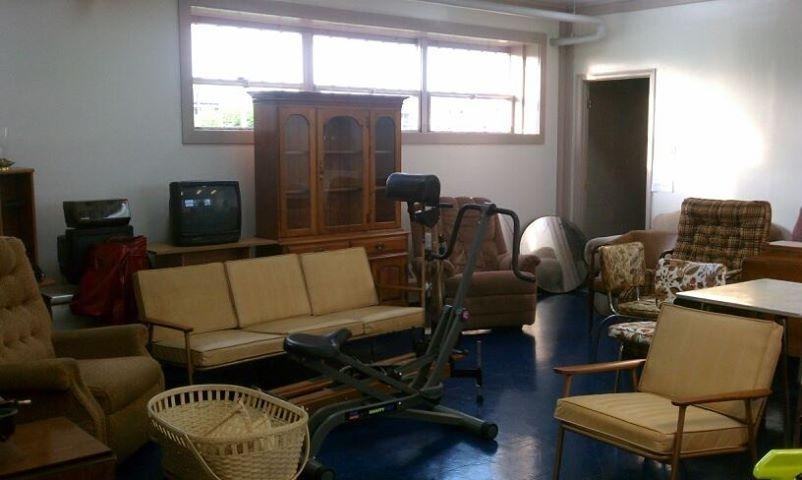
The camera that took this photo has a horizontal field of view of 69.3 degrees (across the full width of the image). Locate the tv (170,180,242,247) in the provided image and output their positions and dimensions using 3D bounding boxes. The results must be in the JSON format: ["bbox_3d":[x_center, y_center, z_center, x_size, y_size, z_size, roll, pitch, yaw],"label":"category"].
[{"bbox_3d":[-2.014,-0.258,6.225,1.005,0.778,0.628,-1,-1,-35],"label":"tv"}]

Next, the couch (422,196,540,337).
[{"bbox_3d":[1.030,0.265,7.026,1.272,1.550,1.074,-2,9,-5],"label":"couch"}]

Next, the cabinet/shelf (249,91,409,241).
[{"bbox_3d":[-0.881,-0.828,6.447,1.873,1.596,0.668,-2,3,-34],"label":"cabinet/shelf"}]
